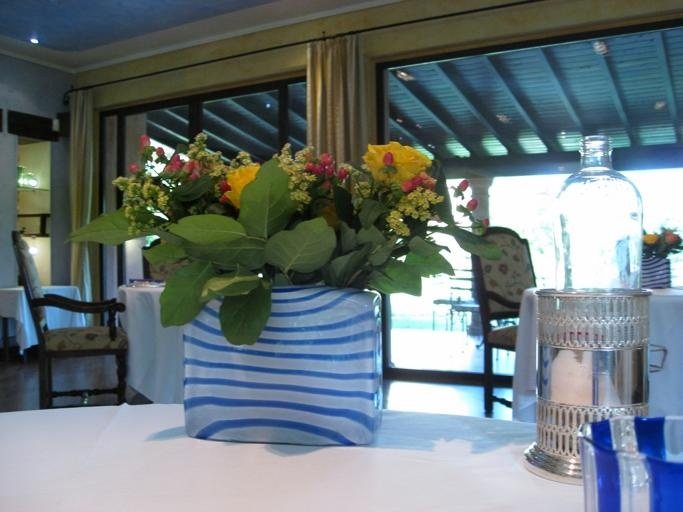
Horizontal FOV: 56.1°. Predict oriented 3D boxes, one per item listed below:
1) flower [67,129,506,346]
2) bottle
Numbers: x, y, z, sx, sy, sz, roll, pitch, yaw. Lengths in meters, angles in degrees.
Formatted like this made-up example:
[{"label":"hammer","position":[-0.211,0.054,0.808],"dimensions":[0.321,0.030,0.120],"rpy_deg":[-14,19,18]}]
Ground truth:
[{"label":"flower","position":[-0.061,-0.034,1.038],"dimensions":[0.515,0.251,0.615],"rpy_deg":[2,9,-18]},{"label":"bottle","position":[0.395,-0.061,0.992],"dimensions":[0.131,0.235,0.169],"rpy_deg":[2,4,24]}]
